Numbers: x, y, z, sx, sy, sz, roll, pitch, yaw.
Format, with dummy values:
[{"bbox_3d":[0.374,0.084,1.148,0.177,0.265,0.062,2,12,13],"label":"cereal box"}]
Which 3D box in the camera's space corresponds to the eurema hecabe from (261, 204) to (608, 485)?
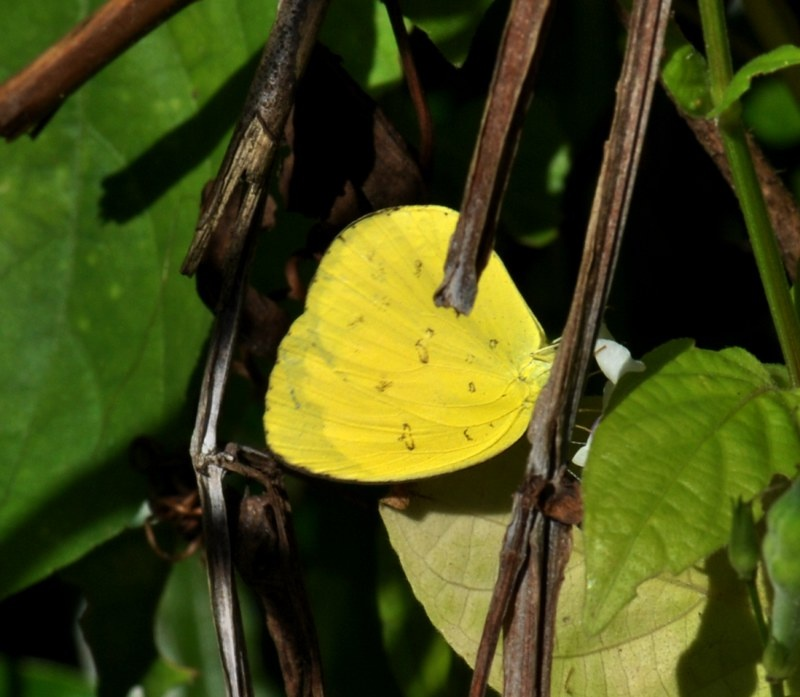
[{"bbox_3d":[0.002,0.002,0.740,0.180,0.105,0.152,-9,79,7],"label":"eurema hecabe"}]
